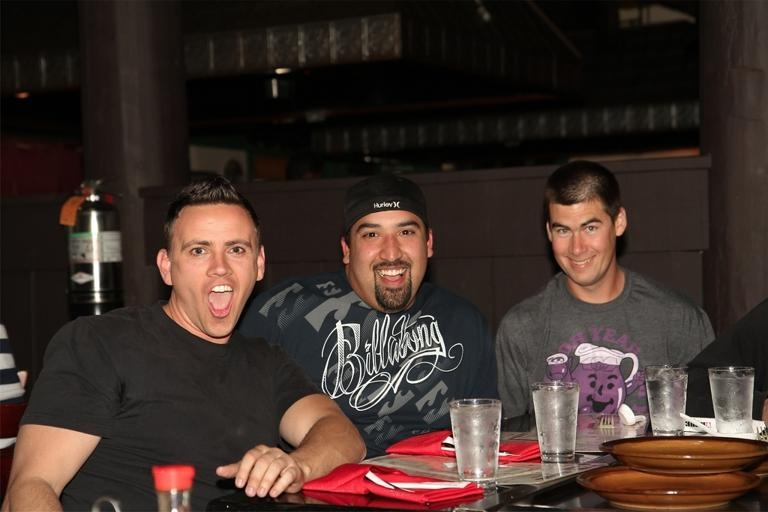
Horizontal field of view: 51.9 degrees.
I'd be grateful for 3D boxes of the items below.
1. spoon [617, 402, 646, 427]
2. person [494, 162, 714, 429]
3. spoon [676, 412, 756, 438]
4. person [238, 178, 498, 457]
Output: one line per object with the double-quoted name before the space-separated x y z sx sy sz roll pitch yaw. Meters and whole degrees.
"spoon" 1.025 0.645 3.237 0.115 0.080 0.082 5 -4 6
"person" 1.191 0.190 4.080 1.200 1.560 0.938 -7 -8 22
"spoon" 1.270 0.647 2.999 0.166 0.060 0.122 -8 -11 12
"person" -0.012 0.305 3.891 1.430 1.360 0.748 5 -2 -10
